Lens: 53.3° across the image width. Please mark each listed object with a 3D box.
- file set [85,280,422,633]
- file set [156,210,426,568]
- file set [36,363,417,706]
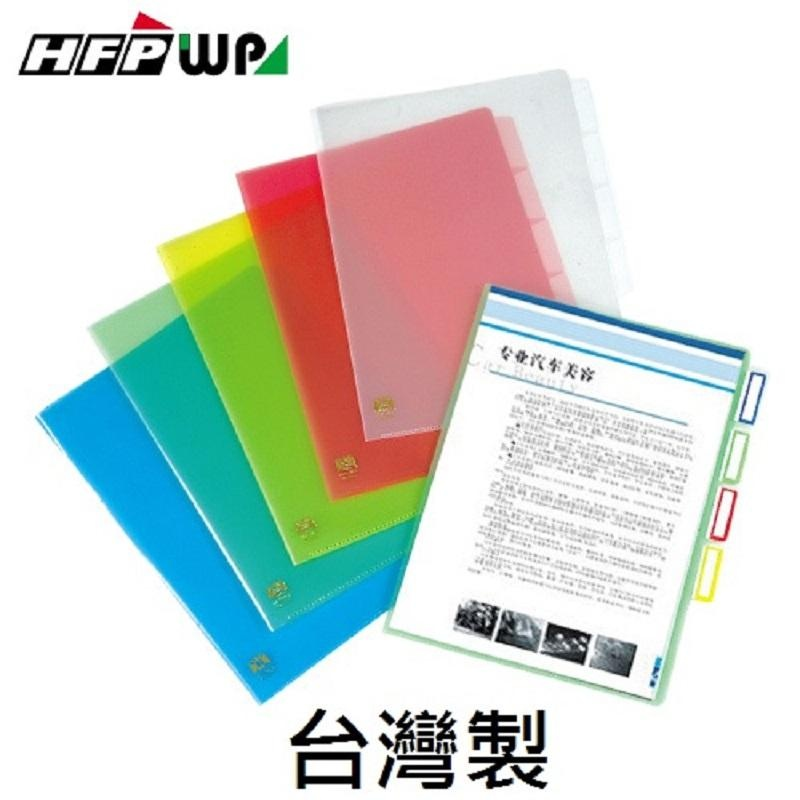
[{"bbox_3d":[-0.524,0.179,2.304,0.805,1.060,0.142,-33,9,-10],"label":"file set"},{"bbox_3d":[-0.377,-0.005,2.312,0.805,1.011,0.124,-24,5,-16],"label":"file set"},{"bbox_3d":[-0.541,0.377,2.324,0.861,0.846,0.421,19,45,31],"label":"file set"}]
